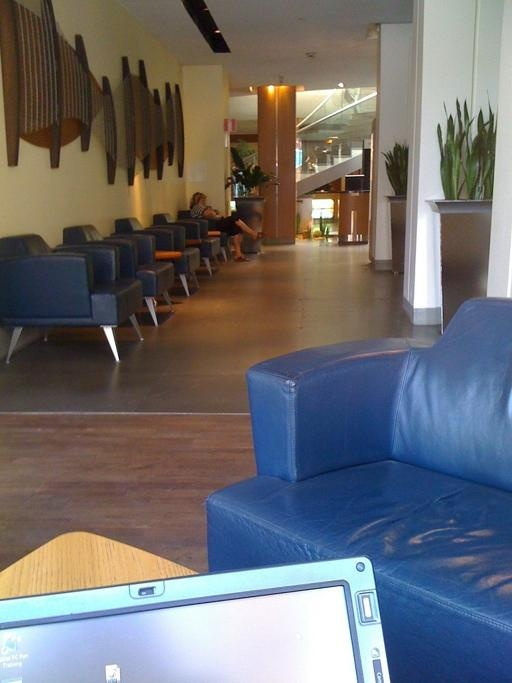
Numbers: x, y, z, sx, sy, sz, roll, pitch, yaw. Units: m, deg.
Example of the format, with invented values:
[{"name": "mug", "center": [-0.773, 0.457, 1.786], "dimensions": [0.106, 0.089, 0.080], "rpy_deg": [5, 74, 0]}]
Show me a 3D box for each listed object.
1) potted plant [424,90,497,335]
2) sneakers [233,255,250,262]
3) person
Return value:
[{"name": "potted plant", "center": [1.698, -1.052, 4.210], "dimensions": [0.494, 1.886, 0.734], "rpy_deg": [4, 14, 18]}, {"name": "sneakers", "center": [-0.281, -1.544, 9.497], "dimensions": [0.114, 0.138, 0.312], "rpy_deg": [-11, 10, -37]}, {"name": "person", "center": [-0.595, -2.194, 9.474], "dimensions": [1.242, 1.481, 0.570], "rpy_deg": [-8, -4, 7]}]
